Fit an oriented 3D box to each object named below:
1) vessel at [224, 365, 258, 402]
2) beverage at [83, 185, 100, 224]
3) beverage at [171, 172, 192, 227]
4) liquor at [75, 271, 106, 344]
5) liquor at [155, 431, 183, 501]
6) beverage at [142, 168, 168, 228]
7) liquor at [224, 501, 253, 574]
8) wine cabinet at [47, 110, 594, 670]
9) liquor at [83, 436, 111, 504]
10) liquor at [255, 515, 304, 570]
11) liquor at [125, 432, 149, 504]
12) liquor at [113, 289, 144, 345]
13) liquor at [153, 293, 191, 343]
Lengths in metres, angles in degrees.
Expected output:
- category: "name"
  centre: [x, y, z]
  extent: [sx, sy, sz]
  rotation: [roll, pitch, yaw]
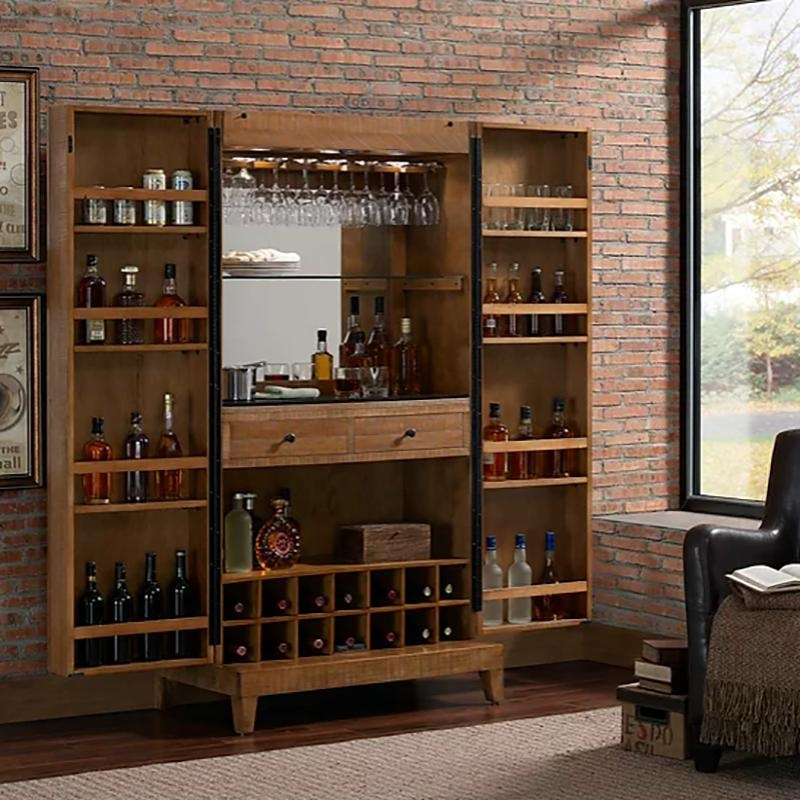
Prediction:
- category: "vessel"
  centre: [-0.618, -0.060, 3.807]
  extent: [0.121, 0.136, 0.079]
  rotation: [-2, 4, -12]
- category: "beverage"
  centre: [-1.108, -0.683, 3.563]
  extent: [0.075, 0.100, 0.080]
  rotation: [-2, 4, -15]
- category: "beverage"
  centre: [-0.816, -0.756, 3.694]
  extent: [0.087, 0.220, 0.111]
  rotation: [-2, 4, -11]
- category: "liquor"
  centre: [-1.142, -0.342, 3.648]
  extent: [0.106, 0.271, 0.157]
  rotation: [-2, 4, -15]
- category: "liquor"
  centre: [-0.880, 0.249, 3.752]
  extent: [0.102, 0.264, 0.130]
  rotation: [-2, 4, -12]
- category: "beverage"
  centre: [-0.912, -0.749, 3.668]
  extent: [0.090, 0.226, 0.141]
  rotation: [-2, 4, -12]
- category: "liquor"
  centre: [-0.635, 0.522, 3.855]
  extent: [0.116, 0.293, 0.106]
  rotation: [-3, 4, -20]
- category: "wine cabinet"
  centre: [-0.229, -0.077, 4.044]
  extent: [2.323, 2.230, 0.540]
  rotation: [-3, 4, -29]
- category: "liquor"
  centre: [-1.125, 0.256, 3.659]
  extent: [0.103, 0.254, 0.200]
  rotation: [-2, 4, -16]
- category: "liquor"
  centre: [-0.488, 0.565, 3.927]
  extent: [0.180, 0.206, 0.085]
  rotation: [-2, 4, -10]
- category: "liquor"
  centre: [-0.988, 0.247, 3.695]
  extent: [0.090, 0.262, 0.161]
  rotation: [-2, 4, -15]
- category: "liquor"
  centre: [-1.015, -0.309, 3.663]
  extent: [0.117, 0.209, 0.146]
  rotation: [-2, 4, -9]
- category: "liquor"
  centre: [-0.860, -0.306, 3.725]
  extent: [0.136, 0.190, 0.142]
  rotation: [-2, 4, -12]
